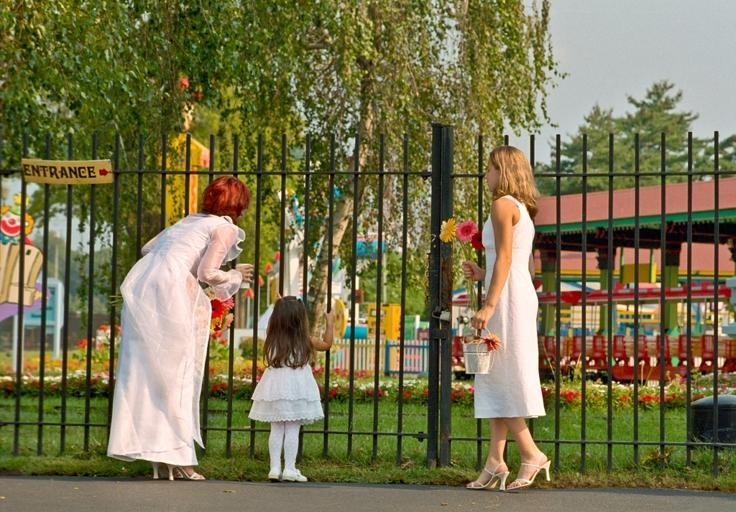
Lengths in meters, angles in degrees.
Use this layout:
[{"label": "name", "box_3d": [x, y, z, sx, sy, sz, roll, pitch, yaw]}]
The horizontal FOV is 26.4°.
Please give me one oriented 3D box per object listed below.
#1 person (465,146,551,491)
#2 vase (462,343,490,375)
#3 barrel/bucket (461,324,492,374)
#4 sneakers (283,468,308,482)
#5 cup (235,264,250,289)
[{"label": "person", "box_3d": [1.840, 0.807, 20.746, 0.925, 4.541, 0.701, -1, -7, 7]}, {"label": "vase", "box_3d": [1.444, 1.334, 20.733, 0.410, 0.424, 0.417, -1, 3, 26]}, {"label": "barrel/bucket", "box_3d": [1.358, 1.301, 20.736, 0.415, 0.496, 0.469, 3, -12, -17]}, {"label": "sneakers", "box_3d": [-1.004, 2.968, 21.100, 0.355, 0.180, 0.137, 4, -5, -15]}, {"label": "cup", "box_3d": [-1.707, 0.262, 21.190, 0.171, 0.349, 0.185, 8, -42, 7]}]
